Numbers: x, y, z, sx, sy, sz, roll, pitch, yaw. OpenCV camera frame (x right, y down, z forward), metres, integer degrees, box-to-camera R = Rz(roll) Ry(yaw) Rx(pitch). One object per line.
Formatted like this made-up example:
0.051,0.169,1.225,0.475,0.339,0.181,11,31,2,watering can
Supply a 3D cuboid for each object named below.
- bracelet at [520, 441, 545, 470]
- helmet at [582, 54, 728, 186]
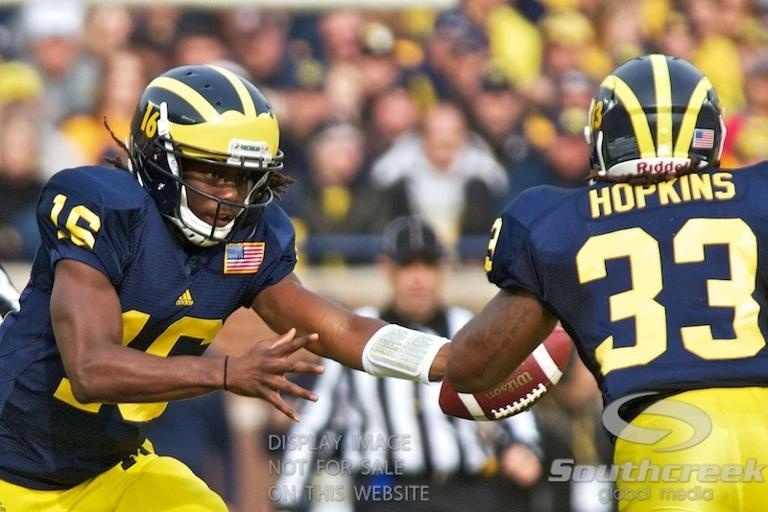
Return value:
0.841,1.136,7.280,0.122,0.143,0.139,-3,50,-4,bracelet
1.089,-0.565,5.202,0.509,0.453,0.596,0,3,1,helmet
